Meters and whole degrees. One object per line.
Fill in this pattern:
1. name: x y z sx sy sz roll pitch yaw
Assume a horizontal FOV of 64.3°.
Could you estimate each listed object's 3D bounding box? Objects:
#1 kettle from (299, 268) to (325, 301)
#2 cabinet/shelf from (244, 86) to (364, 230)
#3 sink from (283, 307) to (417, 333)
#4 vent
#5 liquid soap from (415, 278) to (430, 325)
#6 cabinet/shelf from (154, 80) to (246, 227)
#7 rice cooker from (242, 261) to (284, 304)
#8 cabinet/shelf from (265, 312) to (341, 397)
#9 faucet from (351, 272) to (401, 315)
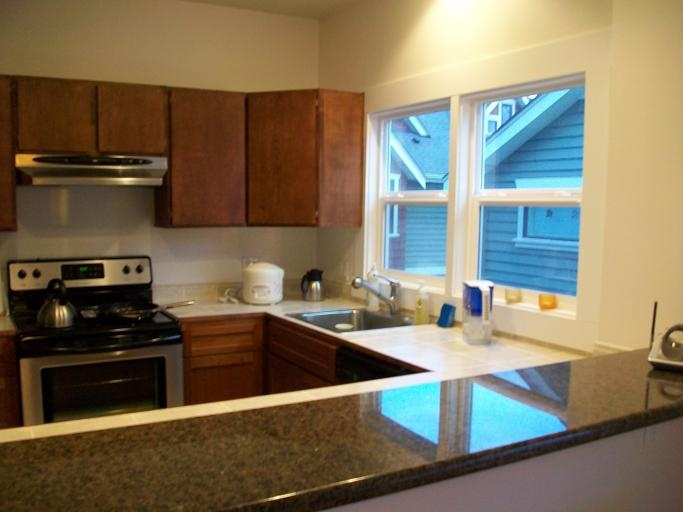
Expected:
1. kettle: -0.207 0.214 3.845 0.222 0.255 0.157 -1 0 23
2. cabinet/shelf: -0.213 -0.616 3.740 0.707 1.062 0.565 4 6 31
3. sink: 0.106 0.382 3.368 0.495 0.176 0.515 -1 4 -31
4. vent: -1.467 -0.513 3.227 0.816 0.175 0.108 -2 13 -17
5. liquid soap: 0.474 0.278 3.148 0.087 0.218 0.110 7 13 23
6. cabinet/shelf: -0.865 -0.628 3.497 0.491 0.858 0.199 0 12 -12
7. rice cooker: -0.534 0.192 3.716 0.264 0.283 0.159 0 12 -12
8. cabinet/shelf: -0.262 0.597 3.193 0.415 0.598 0.640 0 0 -29
9. faucet: 0.243 0.215 3.428 0.235 0.255 0.294 0 9 -25
